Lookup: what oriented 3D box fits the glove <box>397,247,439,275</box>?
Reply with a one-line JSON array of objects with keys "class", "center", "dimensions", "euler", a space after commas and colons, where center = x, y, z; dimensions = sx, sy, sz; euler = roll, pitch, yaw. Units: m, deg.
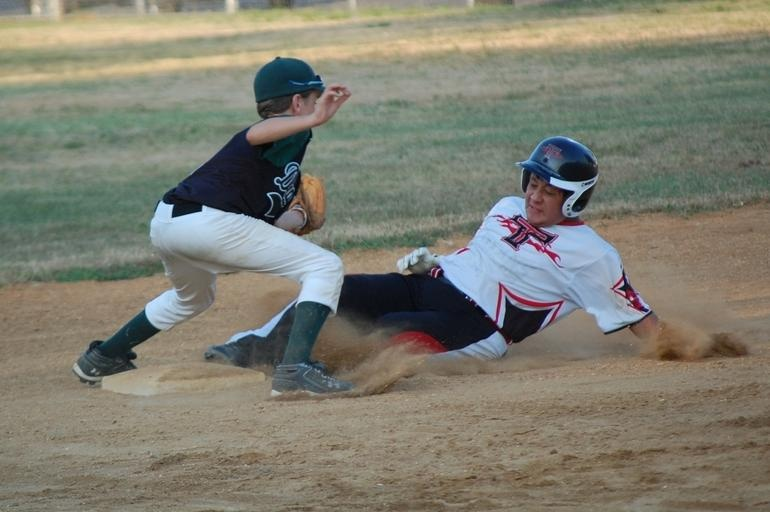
[{"class": "glove", "center": [0.484, 0.050, 20.691], "dimensions": [0.307, 0.169, 0.559], "euler": [-27, -3, 31]}]
